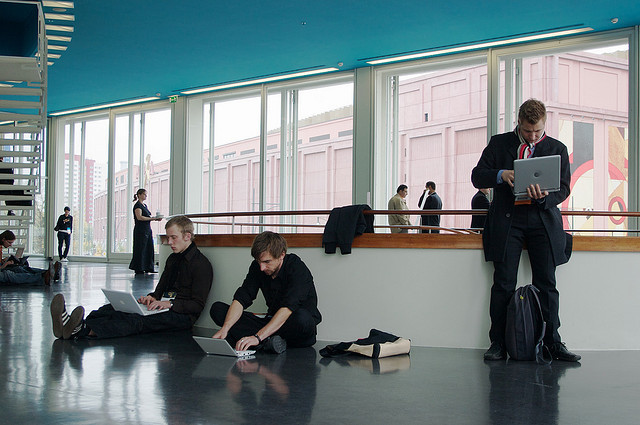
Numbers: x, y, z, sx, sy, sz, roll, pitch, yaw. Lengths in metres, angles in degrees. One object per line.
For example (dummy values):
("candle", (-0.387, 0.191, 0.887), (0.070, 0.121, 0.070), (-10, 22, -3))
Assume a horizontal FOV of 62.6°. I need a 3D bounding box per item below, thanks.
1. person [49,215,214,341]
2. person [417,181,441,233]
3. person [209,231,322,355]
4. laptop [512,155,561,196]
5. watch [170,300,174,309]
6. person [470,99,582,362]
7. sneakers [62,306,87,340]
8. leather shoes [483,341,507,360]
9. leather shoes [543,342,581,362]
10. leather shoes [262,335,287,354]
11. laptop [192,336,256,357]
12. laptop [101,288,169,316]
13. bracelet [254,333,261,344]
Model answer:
("person", (-2.023, 0.713, 5.786), (1.654, 1.177, 0.737), (-2, 6, -41))
("person", (1.988, -0.163, 9.542), (0.413, 1.028, 2.122), (0, -4, 10))
("person", (-0.508, 0.830, 5.249), (1.324, 1.159, 1.255), (1, -3, -35))
("laptop", (1.991, -0.350, 4.925), (0.426, 0.404, 0.352), (-1, 2, 11))
("watch", (-1.644, 1.003, 5.828), (0.042, 0.095, 0.039), (3, -4, -22))
("person", (1.958, 0.179, 5.126), (1.054, 2.412, 0.689), (1, 0, 11))
("sneakers", (-2.521, 1.125, 5.413), (0.257, 0.340, 0.134), (-1, -4, 23))
("leather shoes", (1.668, 1.309, 4.995), (0.255, 0.149, 0.152), (1, -4, -1))
("leather shoes", (2.240, 1.305, 5.005), (0.423, 0.164, 0.141), (3, -5, 14))
("leather shoes", (-0.447, 1.275, 5.115), (0.226, 0.167, 0.145), (1, -4, -5))
("laptop", (-0.901, 1.261, 4.962), (0.550, 0.181, 0.257), (0, -4, 11))
("laptop", (-2.050, 0.890, 5.707), (0.449, 0.267, 0.418), (0, 3, 36))
("bracelet", (-0.575, 1.191, 4.987), (0.022, 0.076, 0.081), (-24, 19, -15))
